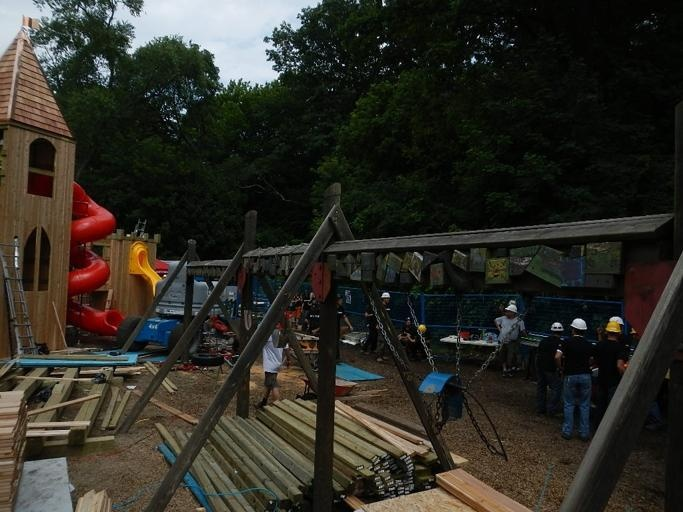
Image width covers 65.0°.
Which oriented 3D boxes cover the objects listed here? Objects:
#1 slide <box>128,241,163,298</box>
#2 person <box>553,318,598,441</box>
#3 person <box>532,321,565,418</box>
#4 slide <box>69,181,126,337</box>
[{"bbox_3d":[-7.908,0.301,21.264,1.359,3.036,1.151,6,6,-22],"label":"slide"},{"bbox_3d":[4.613,2.310,10.290,0.782,2.154,0.796,0,0,30],"label":"person"},{"bbox_3d":[4.529,2.427,11.458,0.767,1.886,0.634,5,5,2],"label":"person"},{"bbox_3d":[-9.047,0.216,18.675,1.344,7.741,1.666,8,6,19],"label":"slide"}]
